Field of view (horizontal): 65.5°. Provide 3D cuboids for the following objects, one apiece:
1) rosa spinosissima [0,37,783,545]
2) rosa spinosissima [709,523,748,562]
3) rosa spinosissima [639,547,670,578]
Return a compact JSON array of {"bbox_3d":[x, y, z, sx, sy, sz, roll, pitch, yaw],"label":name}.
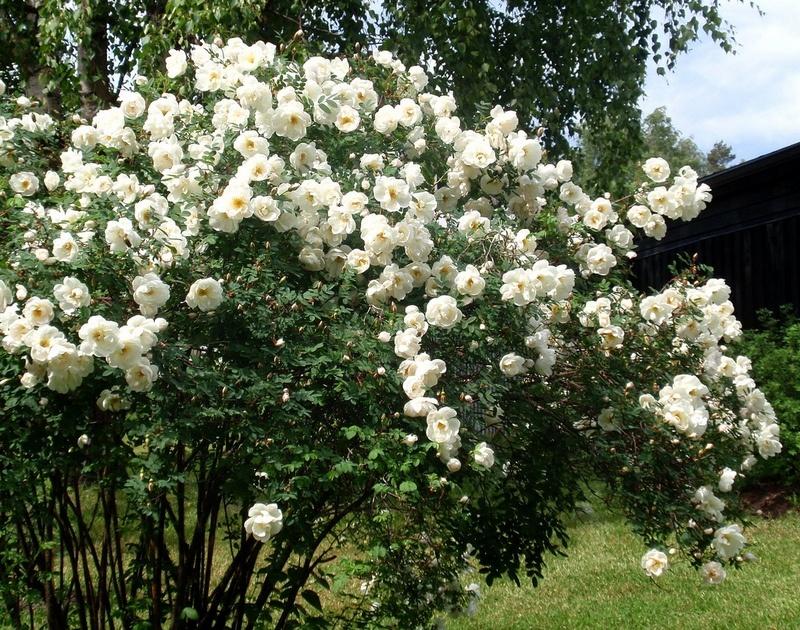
[{"bbox_3d":[0.394,-0.411,4.156,3.471,2.477,3.328,6,-24,18],"label":"rosa spinosissima"},{"bbox_3d":[1.651,1.163,3.143,0.141,0.204,0.363,-13,-15,24],"label":"rosa spinosissima"},{"bbox_3d":[1.280,1.269,3.141,0.112,0.166,0.256,-11,-14,16],"label":"rosa spinosissima"}]
